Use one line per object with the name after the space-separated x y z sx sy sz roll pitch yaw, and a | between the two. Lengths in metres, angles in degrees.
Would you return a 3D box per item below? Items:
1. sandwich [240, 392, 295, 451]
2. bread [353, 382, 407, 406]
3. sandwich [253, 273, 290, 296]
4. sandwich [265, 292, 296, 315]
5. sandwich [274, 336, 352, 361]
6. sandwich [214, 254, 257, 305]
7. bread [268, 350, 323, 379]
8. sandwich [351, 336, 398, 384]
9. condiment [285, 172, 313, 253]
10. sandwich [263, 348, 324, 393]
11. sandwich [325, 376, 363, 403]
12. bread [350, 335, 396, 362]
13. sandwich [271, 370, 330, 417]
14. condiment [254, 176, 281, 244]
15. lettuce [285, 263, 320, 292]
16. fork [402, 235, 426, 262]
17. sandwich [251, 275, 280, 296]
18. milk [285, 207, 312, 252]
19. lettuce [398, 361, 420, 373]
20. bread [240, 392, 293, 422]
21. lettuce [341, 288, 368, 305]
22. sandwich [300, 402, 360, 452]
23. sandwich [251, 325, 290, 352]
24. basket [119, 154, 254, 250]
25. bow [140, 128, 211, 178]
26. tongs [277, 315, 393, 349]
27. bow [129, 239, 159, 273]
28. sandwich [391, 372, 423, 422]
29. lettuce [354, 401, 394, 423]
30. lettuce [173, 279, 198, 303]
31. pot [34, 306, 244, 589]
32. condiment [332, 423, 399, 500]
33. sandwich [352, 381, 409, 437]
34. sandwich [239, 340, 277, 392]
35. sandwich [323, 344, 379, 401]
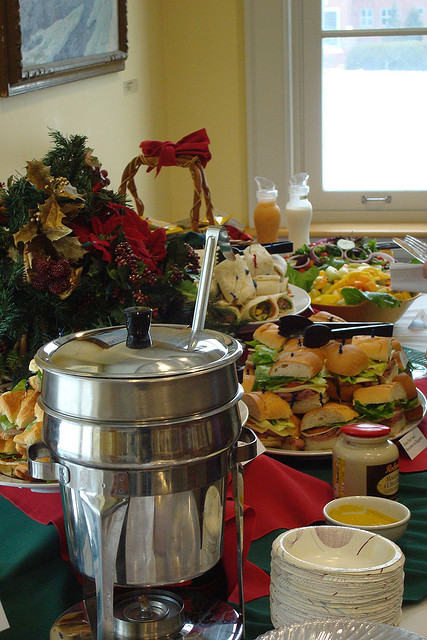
0.068 0.116 0.705 0.069 0.037 0.085 4 13 -5 | sandwich
0.205 0.091 0.686 0.044 0.013 0.031 -6 9 30 | bread
0.111 -0.074 1.086 0.061 0.020 0.054 -5 23 -9 | sandwich
0.126 -0.032 1.048 0.046 0.018 0.043 8 21 -24 | sandwich
0.125 0.036 0.701 0.065 0.015 0.016 -11 36 -10 | sandwich
0.039 -0.066 1.018 0.083 0.081 0.031 -23 -3 -40 | sandwich
0.101 0.045 0.675 0.067 0.026 0.049 9 17 36 | bread
0.213 0.041 0.730 0.063 0.057 0.058 -13 23 -36 | sandwich
0.281 -0.362 1.896 0.108 0.260 0.100 -3 15 -3 | condiment
0.099 0.052 0.694 0.062 0.026 0.080 4 8 11 | sandwich
0.156 0.085 0.689 0.042 0.025 0.038 0 13 -1 | sandwich
0.212 0.032 0.717 0.035 0.013 0.042 -3 16 -10 | bread
0.108 0.088 0.695 0.075 0.040 0.064 -12 7 12 | sandwich
0.163 -0.319 1.738 0.085 0.219 0.082 8 25 27 | condiment
0.216 -0.103 1.364 0.077 0.066 0.079 -3 7 13 | lettuce
0.418 -0.152 1.174 0.043 0.045 0.268 -2 7 19 | fork
0.099 -0.066 1.070 0.047 0.016 0.044 4 42 -3 | sandwich
0.281 -0.299 1.845 0.078 0.147 0.187 -4 7 8 | milk
0.305 0.074 0.880 0.039 0.012 0.040 -3 10 3 | lettuce
0.060 0.098 0.640 0.037 0.021 0.073 34 16 37 | bread
0.287 -0.049 1.149 0.050 0.034 0.014 -2 8 19 | lettuce
0.134 0.123 0.663 0.052 0.023 0.065 -8 34 35 | sandwich
0.087 0.024 0.800 0.031 0.012 0.040 -33 34 -9 | sandwich
-0.062 -0.293 1.355 0.313 0.278 0.455 4 19 10 | basket
-0.087 -0.369 1.243 0.161 0.107 0.063 2 8 10 | bow
0.159 0.016 0.759 0.099 0.022 0.089 -14 18 -41 | tongs
-0.104 -0.094 0.824 0.022 0.043 0.047 -34 29 -4 | bow
0.263 0.103 0.749 0.040 0.060 0.050 5 20 12 | sandwich
0.192 0.106 0.675 0.034 0.012 0.032 -4 -4 38 | lettuce
-0.036 -0.044 0.836 0.039 0.034 0.047 -2 7 20 | lettuce
-0.034 0.062 0.376 0.174 0.147 0.167 -2 19 1 | pot
0.155 0.147 0.566 0.062 0.086 0.057 -11 13 -28 | condiment
0.209 0.100 0.686 0.063 0.028 0.075 3 15 6 | sandwich
0.060 0.058 0.726 0.024 0.062 0.049 6 25 -48 | sandwich
0.163 0.063 0.683 0.073 0.052 0.068 0 7 6 | sandwich
